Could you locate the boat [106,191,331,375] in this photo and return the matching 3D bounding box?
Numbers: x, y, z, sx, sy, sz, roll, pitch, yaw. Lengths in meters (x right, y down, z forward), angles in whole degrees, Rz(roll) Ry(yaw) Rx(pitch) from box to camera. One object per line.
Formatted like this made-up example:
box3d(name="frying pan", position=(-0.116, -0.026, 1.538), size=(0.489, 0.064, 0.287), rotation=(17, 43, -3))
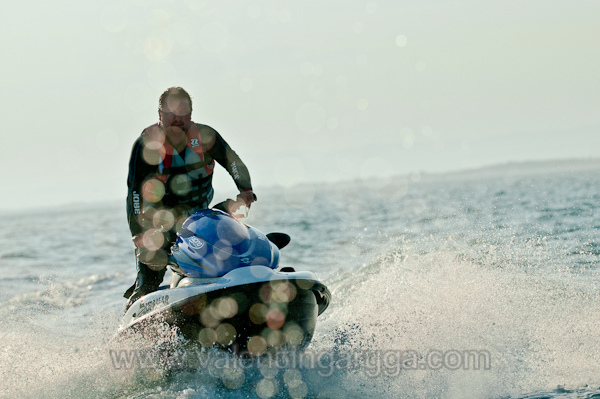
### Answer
box3d(name="boat", position=(-1.345, 1.236, 13.722), size=(2.894, 2.518, 4.373), rotation=(-3, -10, -22))
